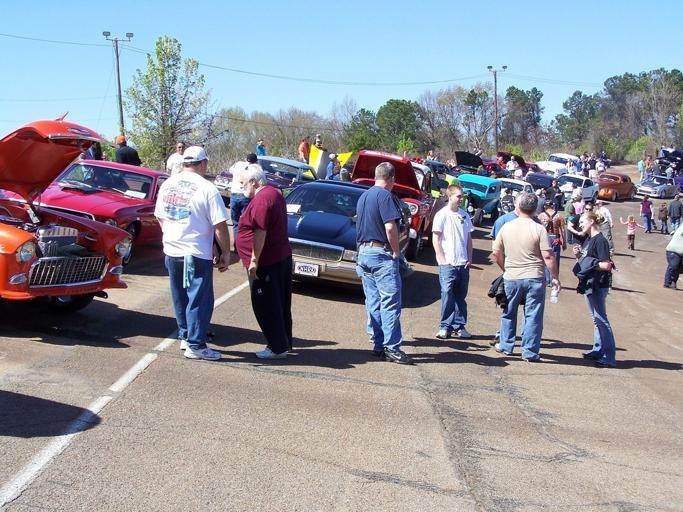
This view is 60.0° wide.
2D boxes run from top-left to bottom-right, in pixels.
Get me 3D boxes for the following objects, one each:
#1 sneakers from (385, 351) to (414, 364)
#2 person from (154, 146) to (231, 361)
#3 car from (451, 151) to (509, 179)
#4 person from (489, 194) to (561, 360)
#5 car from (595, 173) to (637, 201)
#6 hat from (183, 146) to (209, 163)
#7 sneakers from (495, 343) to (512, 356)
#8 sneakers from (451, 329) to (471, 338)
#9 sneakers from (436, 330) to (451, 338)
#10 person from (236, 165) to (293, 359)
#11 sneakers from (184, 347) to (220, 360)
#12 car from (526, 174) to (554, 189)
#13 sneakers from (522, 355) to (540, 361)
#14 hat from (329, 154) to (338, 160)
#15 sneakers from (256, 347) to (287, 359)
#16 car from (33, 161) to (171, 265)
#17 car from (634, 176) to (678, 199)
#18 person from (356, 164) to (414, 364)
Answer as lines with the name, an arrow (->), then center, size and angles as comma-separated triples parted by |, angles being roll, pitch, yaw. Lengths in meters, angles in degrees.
sneakers -> 0.692, 1.228, 7.156 | 0.301, 0.142, 0.133 | 1, 3, 18
person -> -1.608, -0.038, 6.553 | 0.852, 2.295, 0.449 | 11, 11, 23
car -> 7.696, -5.009, 32.425 | 2.116, 1.849, 3.225 | 14, 22, 38
person -> 2.427, 0.272, 7.889 | 0.867, 2.188, 0.299 | 13, 12, 29
car -> 16.863, -4.301, 37.154 | 1.919, 1.521, 3.480 | 5, 6, 42
hat -> -1.612, -1.134, 6.584 | 0.180, 0.141, 0.261 | 6, 13, 21
sneakers -> 2.194, 1.261, 8.090 | 0.108, 0.109, 0.248 | -16, 21, -35
sneakers -> 1.732, 1.111, 8.594 | 0.278, 0.128, 0.112 | 3, 8, 26
sneakers -> 1.453, 1.099, 8.415 | 0.201, 0.138, 0.127 | 7, 10, 2
person -> -0.842, 0.089, 6.715 | 0.749, 2.157, 0.467 | 5, 10, -9
sneakers -> -1.531, 1.082, 6.526 | 0.386, 0.165, 0.155 | 1, 9, -10
car -> 10.035, -3.805, 29.926 | 0.876, 0.717, 1.560 | 11, 14, 30
sneakers -> 2.519, 1.359, 7.882 | 0.224, 0.094, 0.081 | 1, 7, 8
hat -> -0.325, -4.200, 24.851 | 0.319, 0.161, 0.494 | 4, 16, 21
sneakers -> -0.815, 1.125, 6.824 | 0.354, 0.149, 0.128 | 3, 4, -4
car -> -4.196, -0.868, 10.721 | 1.524, 0.948, 2.631 | 13, 11, 8
car -> 20.761, -4.510, 38.886 | 2.847, 1.504, 1.378 | 0, 13, -34
person -> 0.541, 0.076, 7.236 | 0.422, 2.352, 0.917 | -2, 13, -38
